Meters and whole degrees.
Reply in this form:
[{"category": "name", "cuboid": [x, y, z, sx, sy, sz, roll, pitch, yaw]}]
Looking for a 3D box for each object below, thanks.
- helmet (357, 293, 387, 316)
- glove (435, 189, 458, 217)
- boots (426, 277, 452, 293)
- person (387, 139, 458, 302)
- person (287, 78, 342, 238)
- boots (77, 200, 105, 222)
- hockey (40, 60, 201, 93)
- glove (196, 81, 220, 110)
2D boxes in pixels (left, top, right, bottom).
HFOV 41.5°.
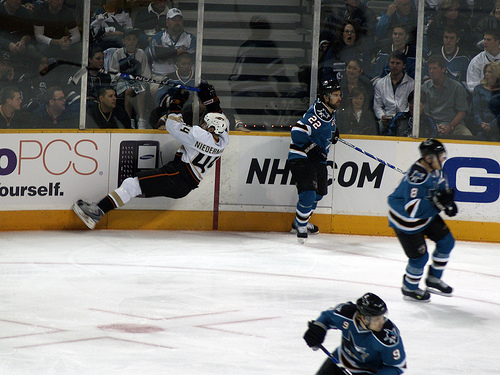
[{"category": "helmet", "cuboid": [0.852, 0.816, 4.626, 0.184, 0.092, 0.145, 20, 39, 20]}, {"category": "glove", "cuboid": [1.882, 0.117, 6.116, 0.096, 0.241, 0.241, -46, 29, -16]}, {"category": "boots", "cuboid": [1.836, 0.957, 6.417, 0.273, 0.097, 0.088, 14, 33, 25]}, {"category": "person", "cuboid": [1.664, 0.310, 6.287, 0.711, 1.533, 0.383, 6, 14, 11]}, {"category": "person", "cuboid": [0.790, -0.339, 8.389, 0.541, 2.038, 0.783, 13, 17, 37]}, {"category": "boots", "cuboid": [-2.029, 0.303, 8.328, 0.364, 0.239, 0.130, 7, 14, 18]}, {"category": "hockey", "cuboid": [-1.785, -1.445, 8.579, 1.588, 0.171, 0.204, 9, 38, 7]}, {"category": "glove", "cuboid": [-0.543, -1.159, 8.456, 0.252, 0.398, 0.128, -31, 17, -4]}]
